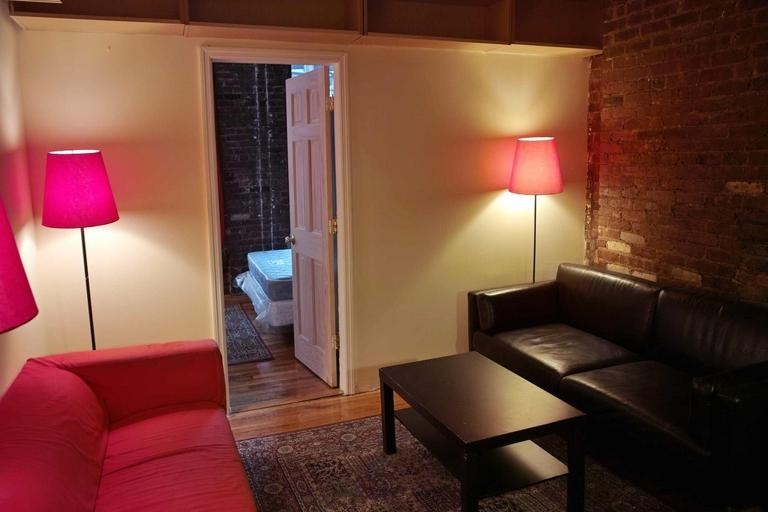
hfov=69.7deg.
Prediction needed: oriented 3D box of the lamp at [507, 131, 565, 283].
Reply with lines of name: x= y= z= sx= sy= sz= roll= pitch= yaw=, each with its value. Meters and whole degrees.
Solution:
lamp: x=1.299 y=-0.381 z=4.876 sx=0.446 sy=1.303 sz=0.436 roll=-6 pitch=16 yaw=-8
